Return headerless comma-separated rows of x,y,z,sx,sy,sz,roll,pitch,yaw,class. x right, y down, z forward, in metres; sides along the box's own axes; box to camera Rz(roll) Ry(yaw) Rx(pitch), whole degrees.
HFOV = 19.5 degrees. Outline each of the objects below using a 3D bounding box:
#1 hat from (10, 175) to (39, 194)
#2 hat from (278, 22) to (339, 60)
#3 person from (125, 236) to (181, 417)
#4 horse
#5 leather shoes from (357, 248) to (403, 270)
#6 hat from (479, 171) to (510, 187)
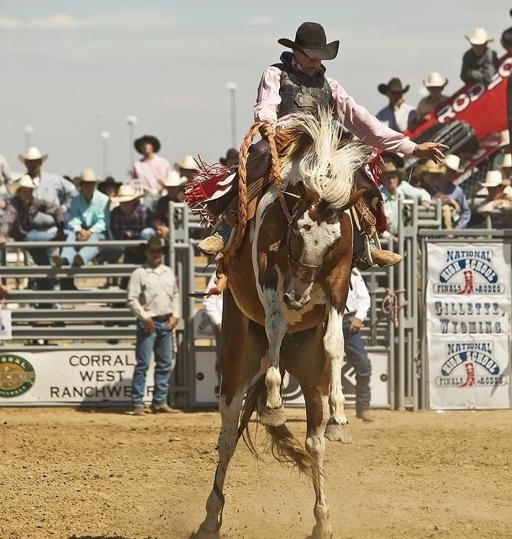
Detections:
-2.912,-1.092,19.158,0.274,0.138,0.340,2,-7,-8,hat
0.474,-2.069,13.500,0.522,0.334,0.306,0,10,0,hat
-1.197,0.689,17.976,0.635,2.121,0.494,-2,10,-10,person
0.291,0.591,13.971,1.146,2.455,4.406,6,-46,-5,horse
1.186,-0.095,13.908,0.482,0.226,0.180,-4,7,-6,leather shoes
3.134,-1.206,19.733,0.210,0.146,0.305,-3,-3,12,hat
